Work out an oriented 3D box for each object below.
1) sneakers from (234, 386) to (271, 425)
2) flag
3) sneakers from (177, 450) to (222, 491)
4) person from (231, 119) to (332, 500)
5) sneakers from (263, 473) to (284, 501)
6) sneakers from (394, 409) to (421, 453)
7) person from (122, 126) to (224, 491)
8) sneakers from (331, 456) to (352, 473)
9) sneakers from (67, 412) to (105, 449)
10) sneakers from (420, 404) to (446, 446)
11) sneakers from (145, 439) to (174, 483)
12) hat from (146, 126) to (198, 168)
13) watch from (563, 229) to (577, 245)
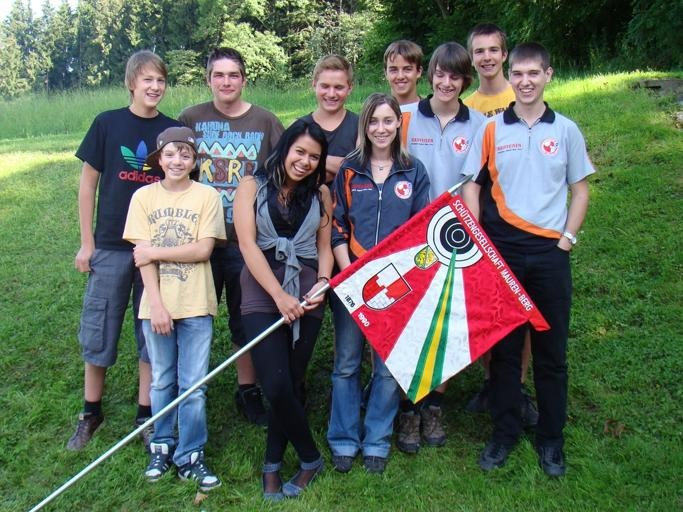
[{"bbox_3d":[-0.797,1.356,4.929,0.117,0.260,0.365,2,-15,29],"label":"sneakers"},{"bbox_3d":[0.645,0.227,4.110,1.644,1.498,0.094,26,13,41],"label":"flag"},{"bbox_3d":[-1.107,1.666,4.143,0.330,0.219,0.126,24,8,6],"label":"sneakers"},{"bbox_3d":[-0.420,0.367,4.069,0.727,2.710,0.887,-1,13,-2],"label":"person"},{"bbox_3d":[-0.509,1.710,3.987,0.147,0.155,0.158,-3,14,-10],"label":"sneakers"},{"bbox_3d":[0.556,1.467,4.481,0.133,0.170,0.388,0,24,1],"label":"sneakers"},{"bbox_3d":[-1.295,0.360,4.189,0.762,2.644,0.870,-3,13,-9],"label":"person"},{"bbox_3d":[0.002,1.644,4.241,0.161,0.106,0.090,1,14,6],"label":"sneakers"},{"bbox_3d":[-2.175,1.486,4.608,0.119,0.163,0.372,17,31,3],"label":"sneakers"},{"bbox_3d":[0.779,1.408,4.579,0.146,0.159,0.381,-4,50,1],"label":"sneakers"},{"bbox_3d":[-1.423,1.574,4.206,0.114,0.162,0.361,11,22,-3],"label":"sneakers"},{"bbox_3d":[-1.379,-0.916,4.326,0.330,0.186,0.329,-32,-27,34],"label":"hat"},{"bbox_3d":[1.708,-0.146,4.028,0.082,0.095,0.058,15,44,44],"label":"watch"}]
